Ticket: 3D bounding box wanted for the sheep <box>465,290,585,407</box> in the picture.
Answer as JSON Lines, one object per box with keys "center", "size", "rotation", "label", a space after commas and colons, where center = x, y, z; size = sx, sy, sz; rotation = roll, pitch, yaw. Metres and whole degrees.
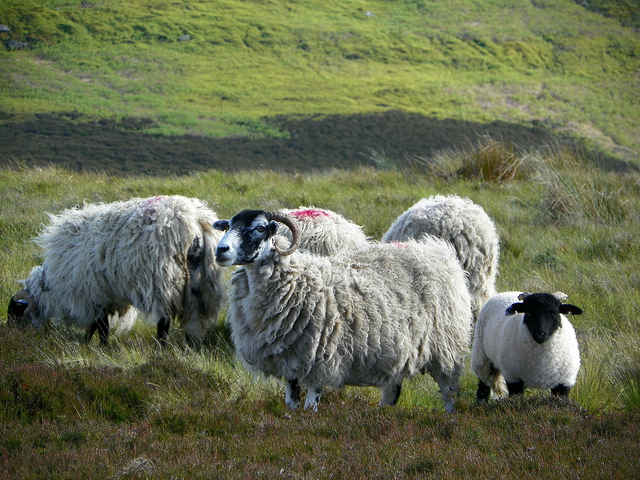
{"center": [6.599, 3.664, 35.281], "size": [2.388, 4.273, 5.469], "rotation": [3, -1, -7], "label": "sheep"}
